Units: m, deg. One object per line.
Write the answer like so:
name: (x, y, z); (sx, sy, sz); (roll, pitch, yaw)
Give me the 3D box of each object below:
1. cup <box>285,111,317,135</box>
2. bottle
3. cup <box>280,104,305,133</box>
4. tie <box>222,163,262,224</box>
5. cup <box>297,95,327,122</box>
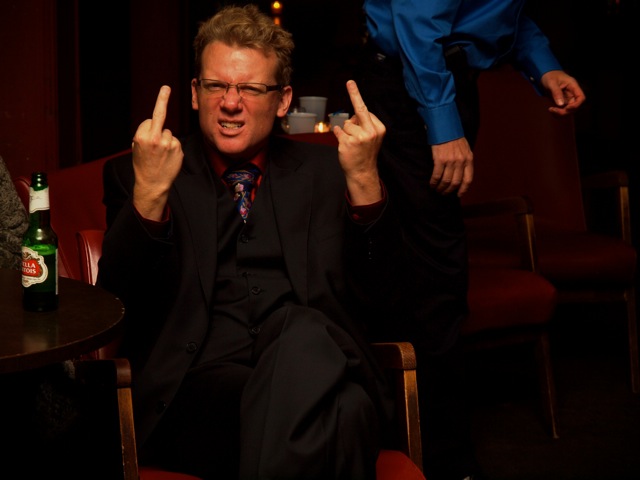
cup: (-0.097, -0.639, 3.083); (0.144, 0.110, 0.134); (2, 13, 0)
bottle: (-0.709, -0.007, 1.443); (0.088, 0.331, 0.174); (-5, 12, -18)
cup: (-0.131, -0.672, 3.127); (0.129, 0.108, 0.144); (-9, 13, -38)
tie: (-0.231, -0.185, 1.826); (0.118, 0.047, 0.205); (-25, 22, -8)
cup: (-0.067, -0.760, 3.279); (0.179, 0.140, 0.162); (8, 13, 34)
